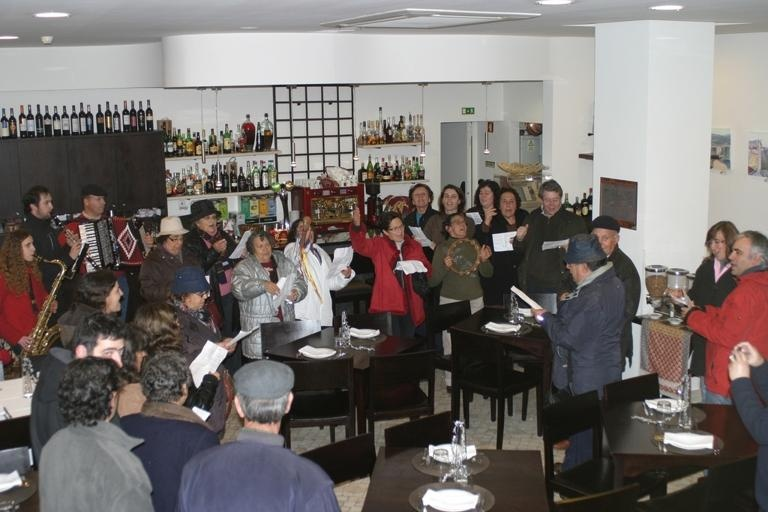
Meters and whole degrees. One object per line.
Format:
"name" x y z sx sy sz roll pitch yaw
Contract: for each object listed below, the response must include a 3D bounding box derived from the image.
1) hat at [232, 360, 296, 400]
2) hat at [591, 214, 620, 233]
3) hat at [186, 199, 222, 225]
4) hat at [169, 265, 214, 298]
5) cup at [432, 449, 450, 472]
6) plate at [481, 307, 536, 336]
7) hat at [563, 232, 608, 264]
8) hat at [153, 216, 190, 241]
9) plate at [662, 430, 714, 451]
"hat" -0.629 0.640 3.236 0.297 0.156 0.219 -5 10 -15
"hat" 2.046 -0.293 5.729 0.224 0.162 0.186 0 10 13
"hat" -2.090 -0.511 7.200 0.321 0.148 0.377 -18 4 -7
"hat" -1.516 0.199 4.871 0.268 0.147 0.210 5 19 16
"cup" 0.372 1.319 4.032 0.086 0.062 0.085 1 9 0
"plate" 1.224 0.677 6.006 0.327 0.110 0.326 -6 9 -28
"hat" 1.556 -0.050 4.829 0.219 0.134 0.257 5 20 37
"hat" -2.325 -0.322 6.804 0.285 0.151 0.277 -7 2 36
"plate" 2.036 1.227 4.153 0.345 0.061 0.194 -3 10 -1
